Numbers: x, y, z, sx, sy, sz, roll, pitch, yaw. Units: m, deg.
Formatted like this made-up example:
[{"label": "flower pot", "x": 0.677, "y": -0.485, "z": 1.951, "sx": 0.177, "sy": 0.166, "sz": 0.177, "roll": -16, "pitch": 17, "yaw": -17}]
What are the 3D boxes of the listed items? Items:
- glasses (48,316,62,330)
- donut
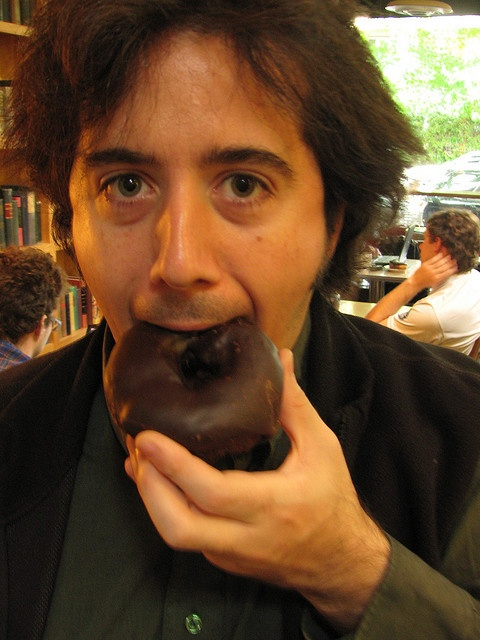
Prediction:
[{"label": "glasses", "x": -0.917, "y": 0.011, "z": 2.657, "sx": 0.076, "sy": 0.077, "sz": 0.023, "roll": 3, "pitch": 8, "yaw": 24}, {"label": "donut", "x": -0.046, "y": 0.069, "z": 0.589, "sx": 0.177, "sy": 0.101, "sz": 0.184, "roll": -7, "pitch": 25, "yaw": -22}]
